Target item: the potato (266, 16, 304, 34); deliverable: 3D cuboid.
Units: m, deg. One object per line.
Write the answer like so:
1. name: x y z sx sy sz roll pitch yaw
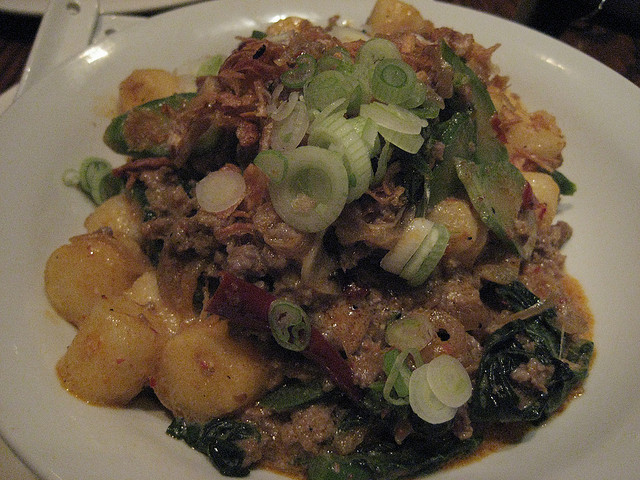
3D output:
1. potato: -0.363 -2.214 7.166 0.353 0.076 0.238 -19 45 -10

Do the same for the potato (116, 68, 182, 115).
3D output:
1. potato: -1.723 -1.515 6.918 0.465 0.188 0.553 31 72 8

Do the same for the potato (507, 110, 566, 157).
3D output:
1. potato: 2.070 -0.985 6.563 0.519 0.255 0.450 -24 66 -41
